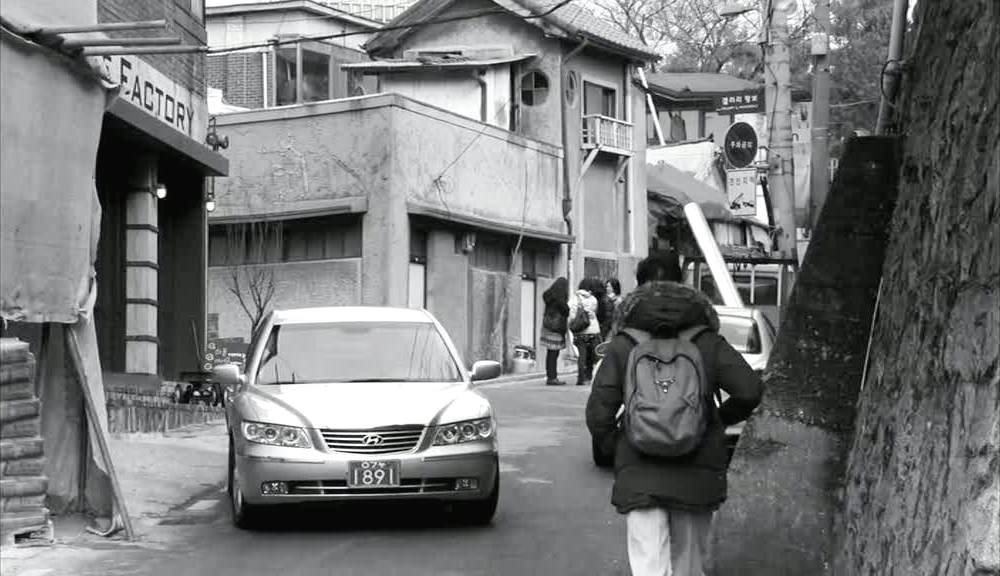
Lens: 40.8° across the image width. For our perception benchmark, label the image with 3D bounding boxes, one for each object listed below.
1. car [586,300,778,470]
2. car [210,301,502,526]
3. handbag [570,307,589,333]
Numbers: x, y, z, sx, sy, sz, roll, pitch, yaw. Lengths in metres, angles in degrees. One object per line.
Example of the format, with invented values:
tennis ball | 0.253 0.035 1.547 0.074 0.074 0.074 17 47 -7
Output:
car | 2.828 1.215 17.632 1.714 1.481 2.967 0 6 14
car | -1.566 1.518 15.359 3.022 2.274 2.151 0 4 -2
handbag | 1.614 0.641 26.778 0.434 0.536 0.248 2 -10 -8
